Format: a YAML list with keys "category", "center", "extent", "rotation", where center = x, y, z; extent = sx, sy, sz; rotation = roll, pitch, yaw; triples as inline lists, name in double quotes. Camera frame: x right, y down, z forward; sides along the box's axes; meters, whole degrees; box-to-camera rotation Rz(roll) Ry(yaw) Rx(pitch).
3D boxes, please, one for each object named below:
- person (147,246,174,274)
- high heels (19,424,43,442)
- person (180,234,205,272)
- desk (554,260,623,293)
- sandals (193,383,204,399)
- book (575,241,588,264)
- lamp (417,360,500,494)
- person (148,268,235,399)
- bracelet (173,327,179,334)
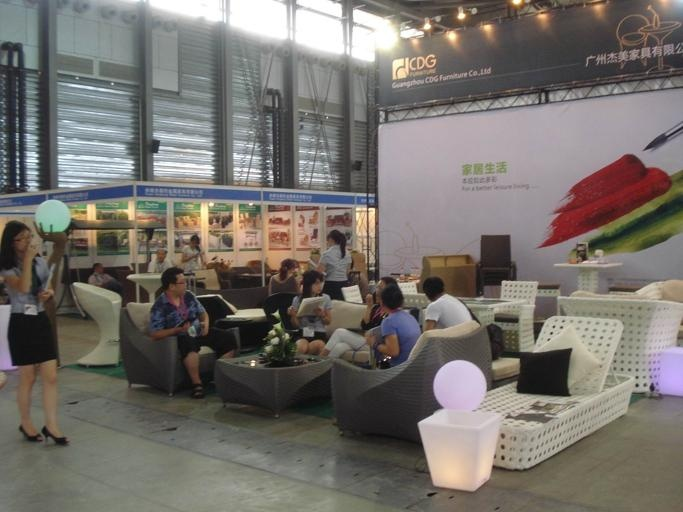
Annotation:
- category: "person"
  center: [-3.710, 0.081, 10.314]
  extent: [0.592, 0.691, 0.403]
  rotation: [0, -4, -9]
- category: "high heels"
  center: [-2.684, 1.512, 4.385]
  extent: [0.272, 0.113, 0.092]
  rotation: [1, -3, 27]
- category: "person"
  center: [-3.263, 0.204, 11.252]
  extent: [0.463, 1.291, 0.441]
  rotation: [-4, 29, -26]
- category: "desk"
  center: [4.277, 0.306, 8.682]
  extent: [0.818, 0.749, 0.812]
  rotation: [-1, -3, 25]
- category: "sandals"
  center: [-1.572, 1.473, 5.562]
  extent: [0.133, 0.115, 0.367]
  rotation: [0, -6, -14]
- category: "book"
  center: [4.059, -0.057, 8.545]
  extent: [0.150, 0.309, 0.161]
  rotation: [0, 3, 13]
- category: "lamp"
  center: [0.827, 1.146, 3.505]
  extent: [0.506, 0.791, 0.455]
  rotation: [0, 3, 18]
- category: "person"
  center: [-1.706, 0.804, 5.745]
  extent: [0.925, 1.199, 0.854]
  rotation: [2, 6, 15]
- category: "bracelet"
  center: [-1.833, 0.823, 5.630]
  extent: [0.077, 0.083, 0.041]
  rotation: [-1, 3, -9]
